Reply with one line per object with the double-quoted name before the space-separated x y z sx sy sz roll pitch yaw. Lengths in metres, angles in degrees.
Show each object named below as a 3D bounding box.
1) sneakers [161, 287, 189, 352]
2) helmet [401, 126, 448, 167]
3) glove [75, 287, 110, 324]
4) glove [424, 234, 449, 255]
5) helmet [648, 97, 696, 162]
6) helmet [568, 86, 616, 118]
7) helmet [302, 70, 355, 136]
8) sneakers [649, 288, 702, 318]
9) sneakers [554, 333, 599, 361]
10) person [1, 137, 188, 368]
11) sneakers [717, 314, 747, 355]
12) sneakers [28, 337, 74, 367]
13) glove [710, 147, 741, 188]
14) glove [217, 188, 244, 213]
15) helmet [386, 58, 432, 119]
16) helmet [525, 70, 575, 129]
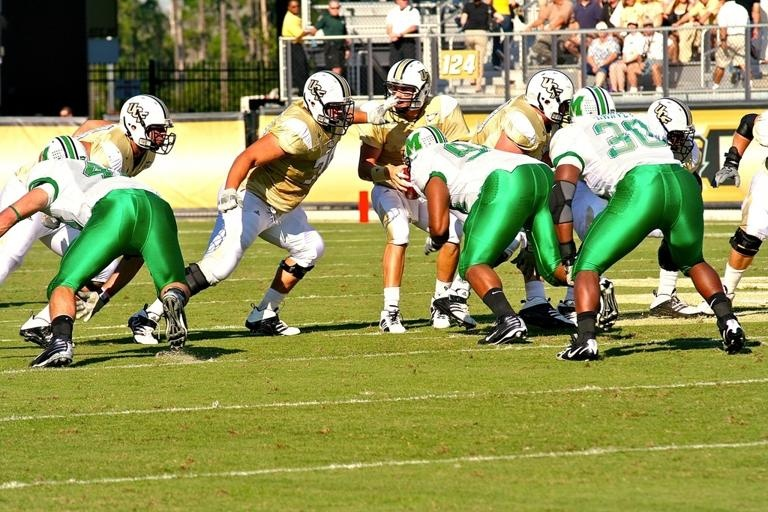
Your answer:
"sneakers" -1.598 0.478 8.666 0.157 0.481 0.212 -2 9 -4
"helmet" 0.330 -0.946 9.622 0.276 0.371 0.347 -1 -28 -9
"glove" -2.488 0.410 9.489 0.258 0.088 0.260 -37 46 -7
"glove" 0.397 -0.125 9.592 0.271 0.095 0.131 -34 -19 35
"helmet" 2.437 -1.028 9.611 0.388 0.584 0.476 2 13 13
"helmet" 1.767 -1.306 9.762 0.377 0.340 0.291 1 10 27
"helmet" -0.418 -1.317 9.811 0.500 0.490 0.430 17 20 14
"sneakers" 2.574 0.432 10.304 0.565 0.280 0.200 0 6 -2
"sneakers" 1.496 0.698 8.673 0.141 0.217 0.409 0 1 -31
"person" -2.141 -0.030 8.709 1.659 1.100 1.231 13 14 43
"sneakers" 2.660 0.580 8.663 0.179 0.351 0.160 -6 41 17
"sneakers" -2.526 0.713 8.567 0.326 0.270 0.153 3 13 17
"glove" 3.261 -0.839 10.740 0.209 0.333 0.466 5 14 24
"glove" -1.264 -0.446 9.185 0.190 0.217 0.281 -2 13 -8
"helmet" 0.221 -1.510 10.157 0.376 0.440 0.465 3 15 26
"helmet" 1.408 -1.334 9.595 0.430 0.423 0.346 1 17 3
